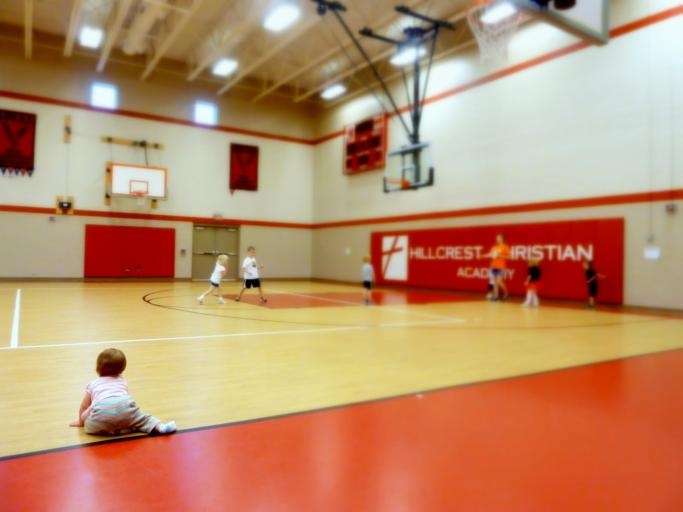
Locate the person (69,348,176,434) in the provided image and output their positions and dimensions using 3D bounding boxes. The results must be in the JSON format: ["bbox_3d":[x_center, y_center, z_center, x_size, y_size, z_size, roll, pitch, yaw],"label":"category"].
[{"bbox_3d":[-1.469,0.925,3.323,0.793,0.564,0.468,-1,-6,25],"label":"person"}]

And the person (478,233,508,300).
[{"bbox_3d":[3.458,0.281,10.789,0.424,1.503,0.982,2,6,18],"label":"person"}]

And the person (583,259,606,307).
[{"bbox_3d":[4.874,0.540,9.484,0.351,0.905,0.763,3,6,29],"label":"person"}]

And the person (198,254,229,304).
[{"bbox_3d":[-3.322,0.598,12.439,0.898,1.330,0.511,-6,24,-32],"label":"person"}]

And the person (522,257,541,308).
[{"bbox_3d":[3.823,0.530,9.813,0.281,1.021,1.181,3,6,23],"label":"person"}]
